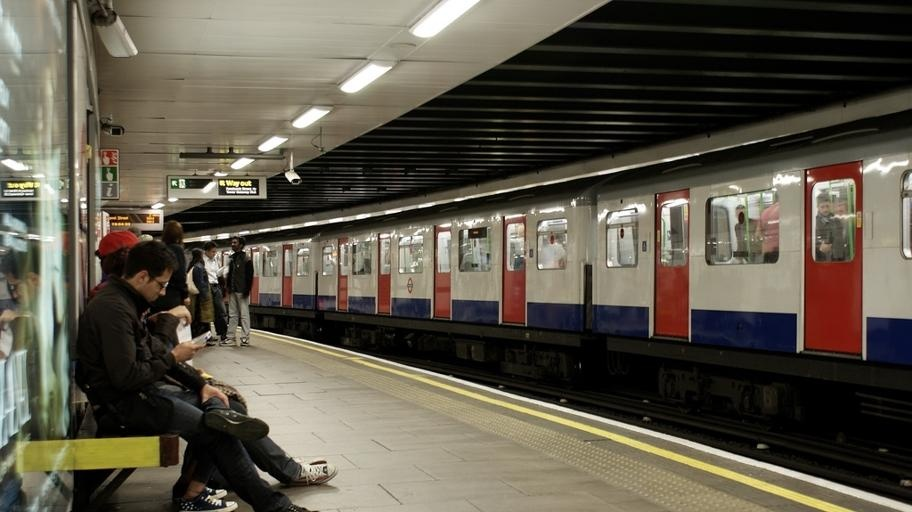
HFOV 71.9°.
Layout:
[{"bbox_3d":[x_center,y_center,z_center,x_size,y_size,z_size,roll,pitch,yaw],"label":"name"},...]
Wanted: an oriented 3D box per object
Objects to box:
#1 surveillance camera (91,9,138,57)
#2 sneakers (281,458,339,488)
[{"bbox_3d":[-4.164,-2.753,7.689,0.261,0.148,0.673,-6,2,-16],"label":"surveillance camera"},{"bbox_3d":[-1.466,2.152,6.268,0.569,0.197,0.210,-8,-29,-4],"label":"sneakers"}]
